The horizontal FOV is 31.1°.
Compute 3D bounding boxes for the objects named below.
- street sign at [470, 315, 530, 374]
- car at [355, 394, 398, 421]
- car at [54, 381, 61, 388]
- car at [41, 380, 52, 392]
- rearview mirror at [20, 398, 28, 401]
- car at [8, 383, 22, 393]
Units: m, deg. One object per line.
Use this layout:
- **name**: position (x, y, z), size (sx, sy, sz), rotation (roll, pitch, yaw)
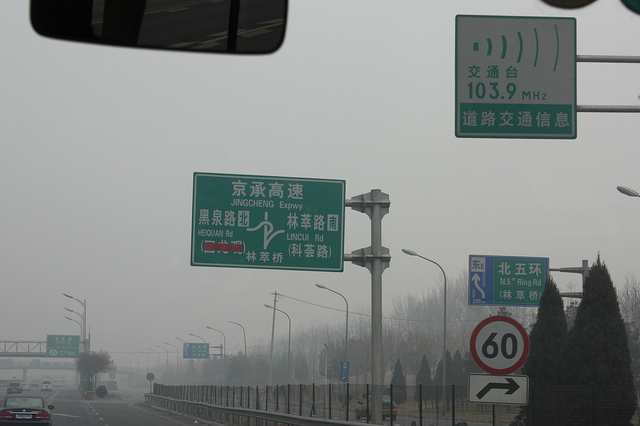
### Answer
- **street sign**: position (6.262, 4.506, 40.118), size (1.942, 1.908, 0.600), rotation (2, -11, 1)
- **car**: position (3.183, 11.482, 68.816), size (1.877, 1.716, 3.250), rotation (4, -6, -25)
- **car**: position (-41.073, 26.453, 180.588), size (0.980, 0.932, 1.813), rotation (1, -5, -6)
- **car**: position (-33.111, 20.779, 139.503), size (1.121, 1.239, 2.139), rotation (0, 2, -8)
- **rearview mirror**: position (-13.954, 8.666, 54.395), size (0.521, 0.085, 0.126), rotation (2, -4, -25)
- **car**: position (-29.143, 16.474, 110.143), size (1.127, 1.092, 2.822), rotation (2, 3, -10)
